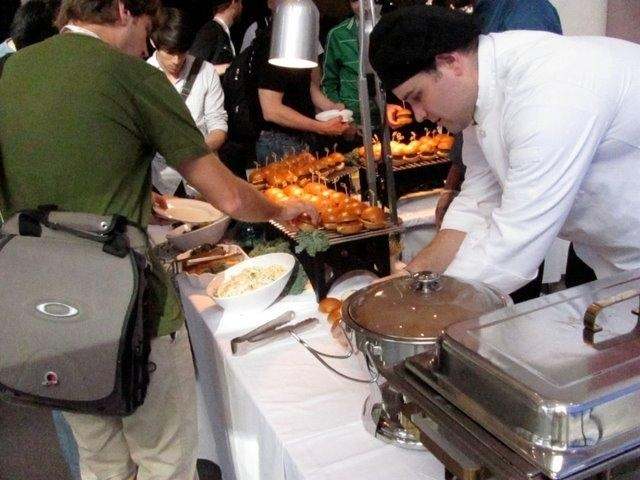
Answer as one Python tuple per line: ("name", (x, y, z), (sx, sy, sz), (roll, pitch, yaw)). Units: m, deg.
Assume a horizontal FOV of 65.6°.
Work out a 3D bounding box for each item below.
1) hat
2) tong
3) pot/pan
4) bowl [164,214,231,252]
("hat", (0.304, -0.557, 1.440), (0.326, 0.206, 0.148), (-2, 40, 6))
("tong", (-0.172, 0.295, 1.740), (0.251, 0.044, 0.128), (-23, 32, -34))
("pot/pan", (0.252, 0.310, 1.383), (0.419, 0.380, 0.445), (-7, 19, -1))
("bowl", (-0.670, -0.017, 2.666), (0.375, 0.128, 0.369), (-14, 10, 2))
